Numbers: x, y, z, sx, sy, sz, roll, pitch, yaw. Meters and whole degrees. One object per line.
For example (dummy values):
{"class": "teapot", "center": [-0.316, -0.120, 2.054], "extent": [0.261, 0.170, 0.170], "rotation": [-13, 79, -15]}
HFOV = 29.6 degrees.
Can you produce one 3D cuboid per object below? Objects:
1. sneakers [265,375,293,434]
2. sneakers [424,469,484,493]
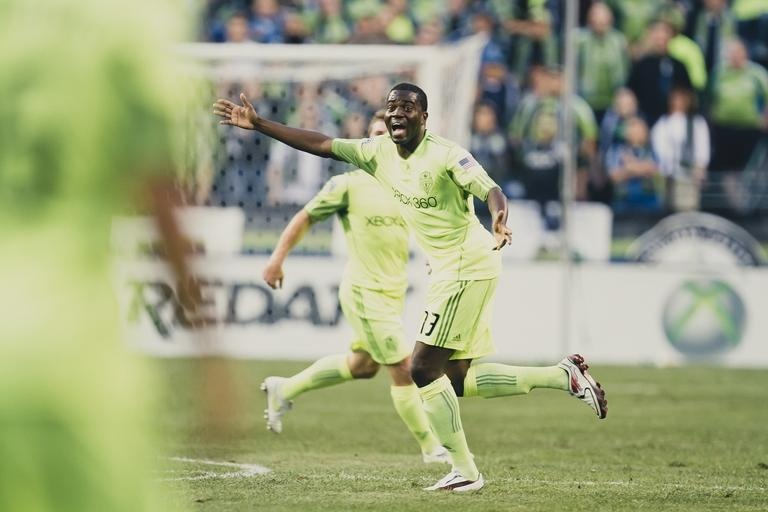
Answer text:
{"class": "sneakers", "center": [-0.689, 1.011, 9.915], "extent": [0.135, 0.446, 0.200], "rotation": [-2, 5, -21]}
{"class": "sneakers", "center": [0.447, 1.409, 9.039], "extent": [0.398, 0.169, 0.138], "rotation": [1, -10, 1]}
